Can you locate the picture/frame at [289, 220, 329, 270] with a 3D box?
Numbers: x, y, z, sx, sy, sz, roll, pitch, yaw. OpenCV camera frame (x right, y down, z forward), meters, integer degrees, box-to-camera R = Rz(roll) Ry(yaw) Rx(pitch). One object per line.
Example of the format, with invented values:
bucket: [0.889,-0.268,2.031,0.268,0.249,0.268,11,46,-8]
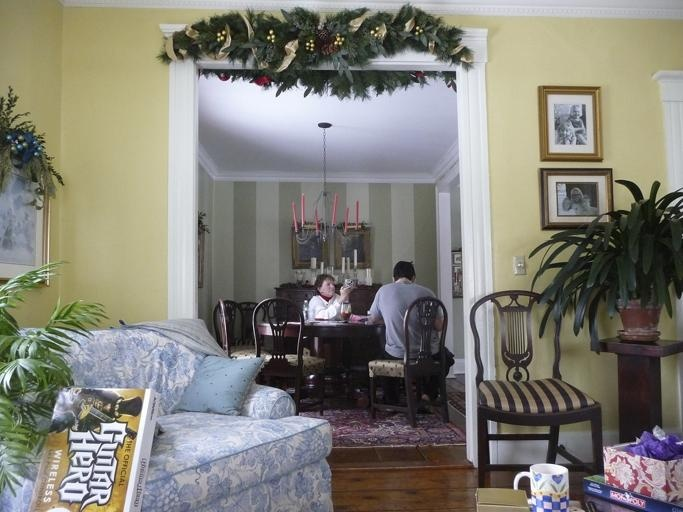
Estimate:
picture/frame: [-0.418,-0.076,7.302,0.480,0.658,0.052,-1,-36,-5]

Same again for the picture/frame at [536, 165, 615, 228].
picture/frame: [1.555,-0.380,3.767,0.383,0.373,0.029,0,-5,-8]

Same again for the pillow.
pillow: [-0.687,0.694,3.007,0.297,0.338,0.102,2,-40,20]

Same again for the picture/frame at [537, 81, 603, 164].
picture/frame: [1.545,-0.877,3.815,0.466,0.623,0.044,0,-1,0]

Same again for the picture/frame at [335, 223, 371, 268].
picture/frame: [0.150,-0.097,7.359,0.454,0.640,0.040,1,29,4]

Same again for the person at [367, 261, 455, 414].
person: [0.626,0.705,5.107,0.762,1.269,0.749,6,-11,-28]
